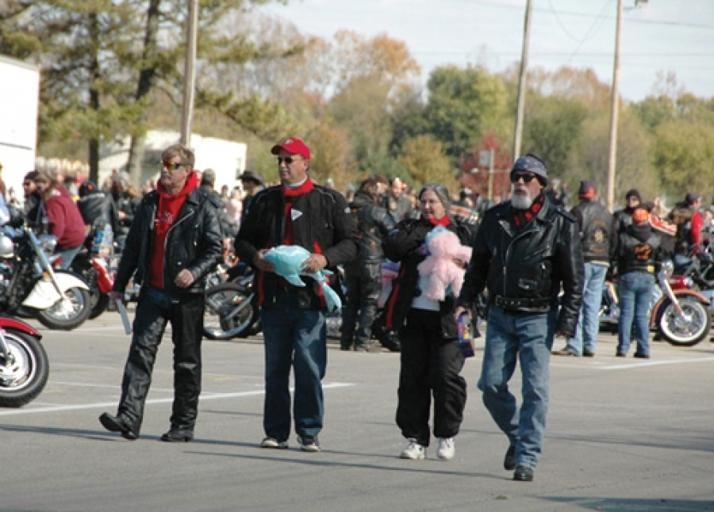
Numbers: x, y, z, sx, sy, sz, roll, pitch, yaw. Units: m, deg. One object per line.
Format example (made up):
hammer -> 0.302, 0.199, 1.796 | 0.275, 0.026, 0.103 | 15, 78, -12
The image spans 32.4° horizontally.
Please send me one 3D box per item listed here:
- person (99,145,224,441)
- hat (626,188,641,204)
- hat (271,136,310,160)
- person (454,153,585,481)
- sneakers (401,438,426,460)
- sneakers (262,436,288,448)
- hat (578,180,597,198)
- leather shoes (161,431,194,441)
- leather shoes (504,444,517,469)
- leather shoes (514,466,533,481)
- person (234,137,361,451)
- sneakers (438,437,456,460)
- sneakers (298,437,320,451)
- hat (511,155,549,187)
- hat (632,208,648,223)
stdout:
person -> -1.980, 0.378, 12.878 | 1.146, 3.049, 0.851 | 0, 9, -11
hat -> 4.404, -0.968, 19.583 | 0.192, 0.205, 0.217 | 1, -1, 21
hat -> -0.681, -1.118, 12.708 | 0.332, 0.182, 0.230 | 10, -5, -35
person -> 1.631, 0.582, 12.170 | 1.161, 3.125, 0.911 | 3, 9, 11
sneakers -> 0.595, 2.012, 12.630 | 0.127, 0.158, 0.335 | -4, -11, 32
sneakers -> -0.856, 1.936, 12.715 | 0.265, 0.125, 0.107 | 3, -1, -19
hat -> 3.463, -0.999, 18.443 | 0.316, 0.334, 0.235 | -2, -4, 12
leather shoes -> -1.863, 1.884, 12.748 | 0.291, 0.146, 0.121 | 11, -4, -29
leather shoes -> 1.520, 1.997, 12.145 | 0.116, 0.216, 0.080 | 10, -2, -6
leather shoes -> 1.639, 2.127, 11.955 | 0.221, 0.152, 0.100 | -1, 9, -17
person -> -0.624, 0.395, 12.704 | 1.201, 3.192, 0.799 | 1, 8, -2
sneakers -> 0.921, 1.980, 12.619 | 0.176, 0.216, 0.183 | 2, 9, 1
sneakers -> -0.497, 1.938, 12.607 | 0.102, 0.112, 0.237 | -5, 6, -23
hat -> 1.709, -0.928, 12.239 | 0.272, 0.277, 0.350 | -11, -34, 43
hat -> 4.289, -0.613, 18.574 | 0.220, 0.212, 0.304 | 4, 9, 16
